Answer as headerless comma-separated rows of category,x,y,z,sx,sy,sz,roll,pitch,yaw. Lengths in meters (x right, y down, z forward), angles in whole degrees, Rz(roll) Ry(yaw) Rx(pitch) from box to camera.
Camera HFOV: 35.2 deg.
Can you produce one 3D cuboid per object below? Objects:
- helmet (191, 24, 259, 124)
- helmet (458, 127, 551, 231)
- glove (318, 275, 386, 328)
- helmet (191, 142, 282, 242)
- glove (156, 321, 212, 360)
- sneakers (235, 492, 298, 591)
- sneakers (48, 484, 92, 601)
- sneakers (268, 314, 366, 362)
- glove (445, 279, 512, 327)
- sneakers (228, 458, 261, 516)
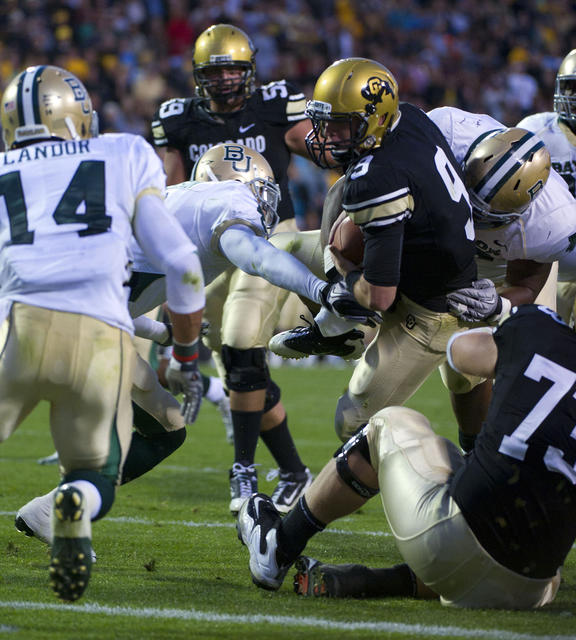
helmet,-0.277,-1.101,3.976,0.335,0.321,0.388,-3,20,2
helmet,0.670,-0.435,2.910,0.241,0.335,0.249,59,4,3
glove,0.186,-0.054,2.606,0.181,0.094,0.080,2,-3,8
helmet,-0.094,-0.476,3.225,0.454,0.368,0.314,2,6,-12
glove,-0.333,0.058,2.828,0.144,0.153,0.068,5,-7,-1
sneakers,-0.060,0.574,2.410,0.101,0.113,0.263,-2,32,-5
sneakers,-0.462,0.480,1.961,0.097,0.234,0.114,0,-17,-3
sneakers,0.042,0.064,2.913,0.392,0.165,0.117,5,13,-2
glove,0.572,-0.051,2.696,0.186,0.126,0.075,30,38,-29
sneakers,-0.162,0.596,3.285,0.088,0.103,0.219,2,53,-7
